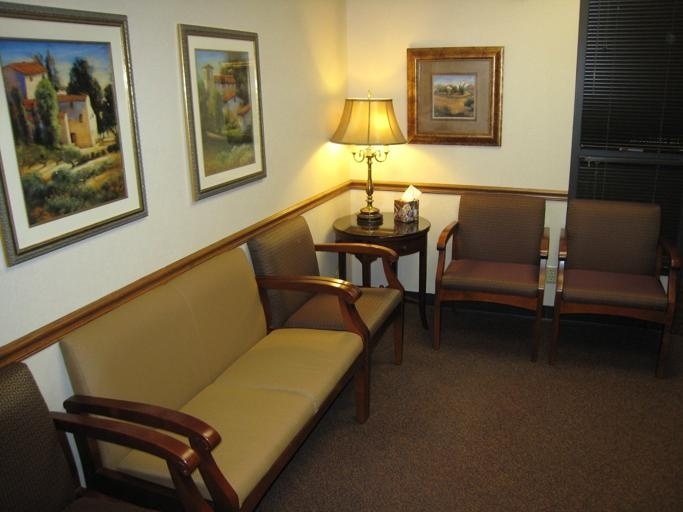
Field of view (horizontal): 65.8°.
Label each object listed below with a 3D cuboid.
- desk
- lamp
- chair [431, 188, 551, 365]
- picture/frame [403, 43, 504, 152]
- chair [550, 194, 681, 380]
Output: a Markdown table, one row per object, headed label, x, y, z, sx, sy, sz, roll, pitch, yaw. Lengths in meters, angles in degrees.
| label | x | y | z | sx | sy | sz | roll | pitch | yaw |
| --- | --- | --- | --- | --- | --- | --- | --- | --- | --- |
| desk | 0.399 | 0.112 | 4.604 | 0.833 | 1.030 | 0.868 | 9 | 17 | 33 |
| lamp | 0.235 | -0.859 | 4.522 | 0.620 | 1.017 | 0.730 | 2 | 19 | 6 |
| chair | 1.211 | 0.104 | 4.281 | 0.813 | 1.077 | 0.945 | 6 | 20 | 18 |
| picture/frame | 0.977 | -1.377 | 4.449 | 0.803 | 0.880 | 0.063 | 3 | 17 | 19 |
| chair | 2.117 | 0.140 | 4.245 | 0.978 | 1.504 | 1.256 | 5 | 23 | 20 |
